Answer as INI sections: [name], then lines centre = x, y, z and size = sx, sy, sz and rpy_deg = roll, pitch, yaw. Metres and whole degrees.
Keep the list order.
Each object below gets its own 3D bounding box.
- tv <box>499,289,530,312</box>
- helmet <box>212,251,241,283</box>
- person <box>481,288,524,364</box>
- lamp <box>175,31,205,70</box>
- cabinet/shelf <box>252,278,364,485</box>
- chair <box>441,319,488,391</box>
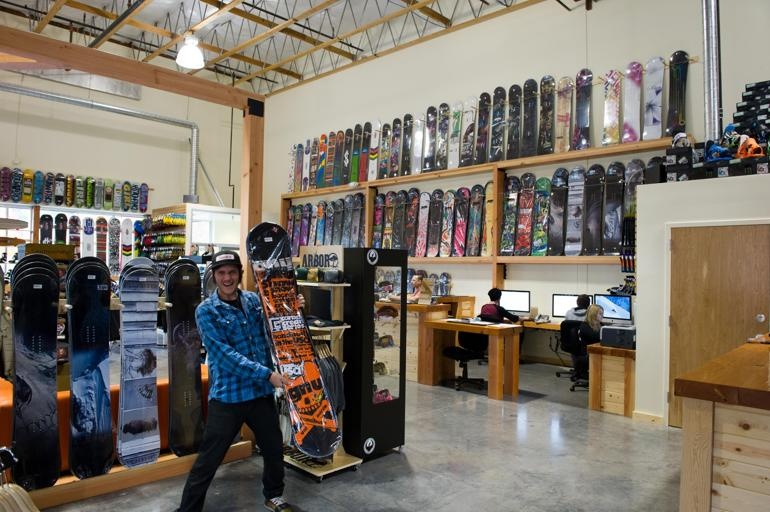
[tv]
centre = 2.254, 0.779, 9.686
size = 0.412, 0.310, 0.120
rpy_deg = 0, -8, 39
[helmet]
centre = -1.410, 0.102, 5.294
size = 0.325, 0.256, 0.546
rpy_deg = 2, -5, -12
[person]
centre = 1.808, 1.097, 8.714
size = 0.630, 1.179, 0.517
rpy_deg = -2, 5, -30
[lamp]
centre = -3.138, -3.313, 8.968
size = 0.374, 0.588, 0.472
rpy_deg = -2, 7, -20
[cabinet/shelf]
centre = -0.769, 1.283, 5.572
size = 0.720, 2.178, 1.779
rpy_deg = 5, -7, -39
[chair]
centre = 1.353, 1.567, 8.524
size = 0.790, 1.268, 0.793
rpy_deg = 6, -8, -42
